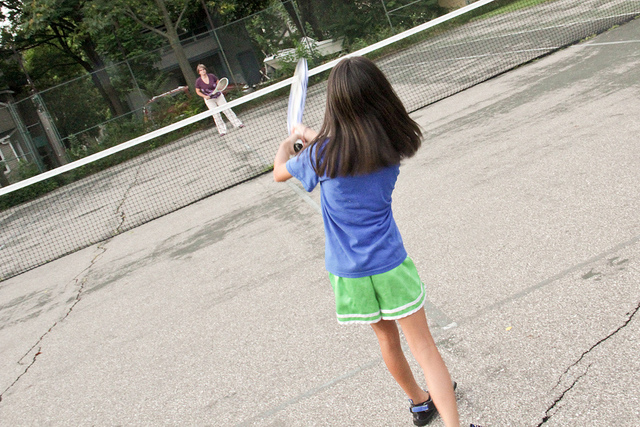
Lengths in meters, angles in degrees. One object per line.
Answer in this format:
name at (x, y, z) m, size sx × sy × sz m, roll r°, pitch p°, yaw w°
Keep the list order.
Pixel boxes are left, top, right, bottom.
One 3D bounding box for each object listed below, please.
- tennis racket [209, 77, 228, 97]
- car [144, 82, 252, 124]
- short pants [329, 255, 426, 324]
tennis racket at (-3.621, -4.450, 19.876) m, size 0.584 × 0.344 × 0.996 m, roll -20°, pitch 15°, yaw 9°
car at (-5.148, -4.427, 22.868) m, size 4.139 × 1.263 × 1.463 m, roll -9°, pitch -14°, yaw 21°
short pants at (0.492, 0.647, 4.803) m, size 0.579 × 0.528 × 0.317 m, roll -9°, pitch 9°, yaw 21°
